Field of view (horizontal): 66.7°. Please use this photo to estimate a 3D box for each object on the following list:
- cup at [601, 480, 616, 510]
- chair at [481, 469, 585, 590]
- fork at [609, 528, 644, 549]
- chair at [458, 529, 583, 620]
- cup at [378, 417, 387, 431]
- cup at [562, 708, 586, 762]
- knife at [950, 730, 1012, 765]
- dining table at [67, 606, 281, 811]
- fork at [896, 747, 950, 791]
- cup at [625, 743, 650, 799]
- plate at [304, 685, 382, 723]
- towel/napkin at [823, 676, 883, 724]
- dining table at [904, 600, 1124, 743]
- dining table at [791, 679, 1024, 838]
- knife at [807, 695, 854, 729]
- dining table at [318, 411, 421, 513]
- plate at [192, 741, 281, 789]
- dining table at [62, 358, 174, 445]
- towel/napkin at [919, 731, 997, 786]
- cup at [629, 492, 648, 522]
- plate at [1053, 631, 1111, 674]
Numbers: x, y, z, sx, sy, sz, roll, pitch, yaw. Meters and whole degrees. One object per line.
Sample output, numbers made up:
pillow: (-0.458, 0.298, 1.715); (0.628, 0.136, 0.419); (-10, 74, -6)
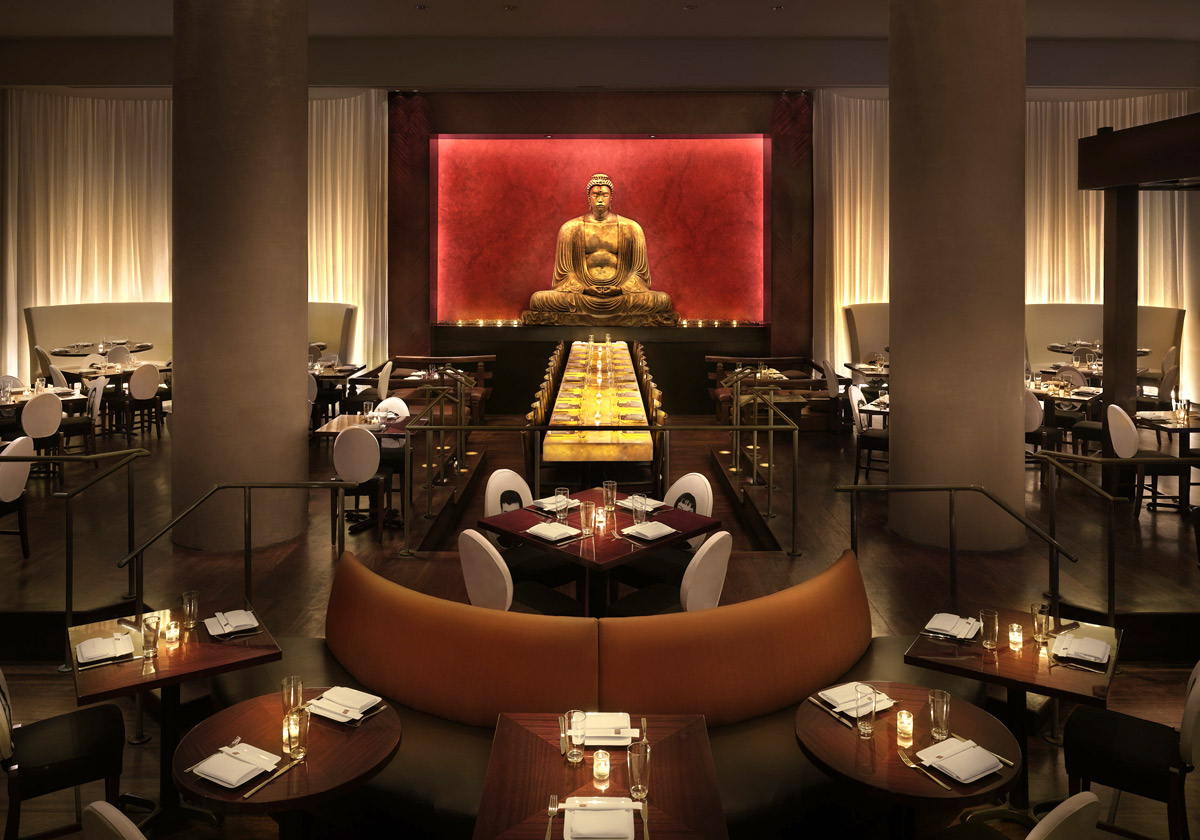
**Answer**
cup: (0.075, 0.539, 6.535); (0.142, 0.262, 0.147); (-1, 5, 0)
chair: (-0.575, 0.773, 6.710); (0.774, 1.154, 0.670); (3, 6, 41)
fork: (0.173, 0.778, 5.872); (0.079, 0.044, 0.301); (-3, 11, -18)
chair: (-0.529, 0.916, 5.657); (0.474, 0.599, 0.384); (-10, 17, -41)
cup: (-2.053, 0.034, 8.589); (0.085, 0.121, 0.043); (3, -15, 13)
cup: (-0.121, 1.438, 4.082); (0.106, 0.201, 0.190); (0, -3, -4)
knife: (1.693, 1.486, 4.073); (0.132, 0.033, 0.131); (-3, 7, -43)
dining table: (-2.357, 1.609, 5.111); (1.030, 1.059, 1.045); (-4, 13, -26)
fork: (1.444, 1.555, 4.069); (0.063, 0.047, 0.383); (-19, 17, -9)
cup: (0.171, 1.503, 3.892); (0.087, 0.220, 0.124); (-1, 8, 1)
plate: (-1.242, 1.389, 4.421); (0.185, 0.021, 0.171); (11, 11, 36)
towel/napkin: (1.225, 1.360, 4.413); (0.160, 0.040, 0.159); (-15, 19, -39)
dining table: (2.299, 1.233, 4.844); (0.778, 0.696, 0.767); (5, 9, 34)
dining table: (1.407, 1.651, 4.203); (0.848, 0.666, 0.856); (0, 13, -4)
knife: (1.107, 1.389, 4.433); (0.065, 0.043, 0.359); (-25, 24, -19)
dining table: (-2.038, 0.400, 8.185); (0.798, 0.835, 0.530); (1, 14, 1)
plate: (-1.607, 1.530, 4.022); (0.194, 0.030, 0.184); (16, 17, 32)
dining table: (-6.100, -0.202, 11.479); (1.001, 0.727, 1.051); (2, 6, 13)
towel/napkin: (1.624, 1.529, 4.060); (0.339, 0.093, 0.224); (-5, 9, -24)
cup: (0.274, 0.614, 6.314); (0.127, 0.235, 0.125); (0, 7, 0)
plate: (2.516, 1.206, 4.713); (0.176, 0.055, 0.204); (9, 20, 24)
